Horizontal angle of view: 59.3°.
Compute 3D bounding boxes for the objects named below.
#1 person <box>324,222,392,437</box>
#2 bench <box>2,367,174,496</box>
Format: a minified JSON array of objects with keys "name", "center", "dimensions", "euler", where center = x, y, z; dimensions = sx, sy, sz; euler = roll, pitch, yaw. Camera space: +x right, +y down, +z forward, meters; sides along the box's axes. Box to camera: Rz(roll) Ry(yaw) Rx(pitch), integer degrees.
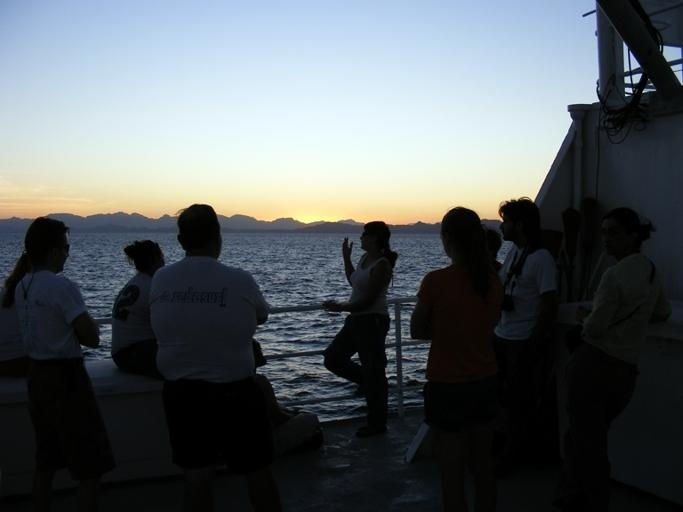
[{"name":"person","center":[0.182,0.700,5.767],"dimensions":[0.736,2.038,1.057],"euler":[-2,2,-2]},{"name":"bench","center":[-1.894,1.396,4.852],"dimensions":[1.050,0.534,1.057],"euler":[0,-2,-33]}]
